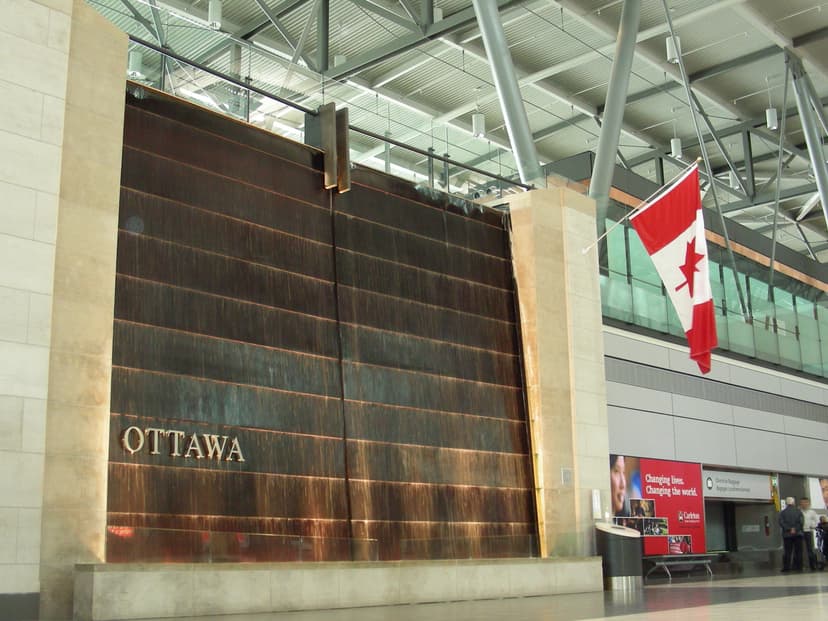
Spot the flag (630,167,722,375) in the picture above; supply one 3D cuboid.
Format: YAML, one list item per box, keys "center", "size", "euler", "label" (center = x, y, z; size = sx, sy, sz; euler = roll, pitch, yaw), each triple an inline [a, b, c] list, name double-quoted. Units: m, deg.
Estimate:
- center: [5.846, -0.882, 17.861]
  size: [1.510, 4.454, 0.465]
  euler: [-18, -23, 41]
  label: "flag"

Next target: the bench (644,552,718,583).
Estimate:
- center: [8.030, 7.788, 24.762]
  size: [1.332, 0.653, 4.351]
  euler: [-13, -20, 29]
  label: "bench"
